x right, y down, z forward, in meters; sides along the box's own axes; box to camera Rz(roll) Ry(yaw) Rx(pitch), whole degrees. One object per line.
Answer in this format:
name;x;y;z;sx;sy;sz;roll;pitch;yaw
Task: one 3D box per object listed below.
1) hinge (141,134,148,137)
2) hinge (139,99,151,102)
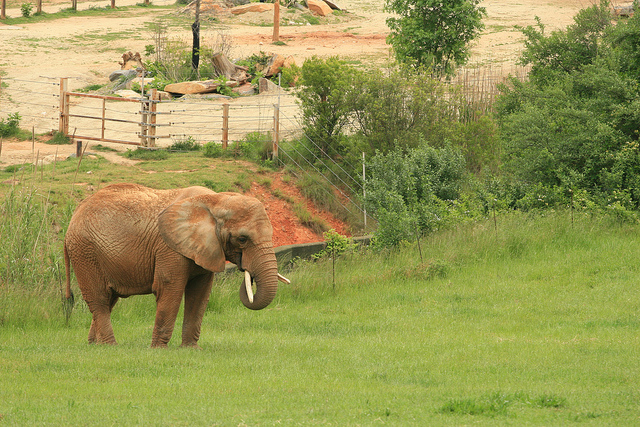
hinge;-7.138;-3.240;61.791;0.222;0.080;0.123;3;8;18
hinge;-7.167;-4.695;62.008;0.471;0.101;0.178;2;8;12
